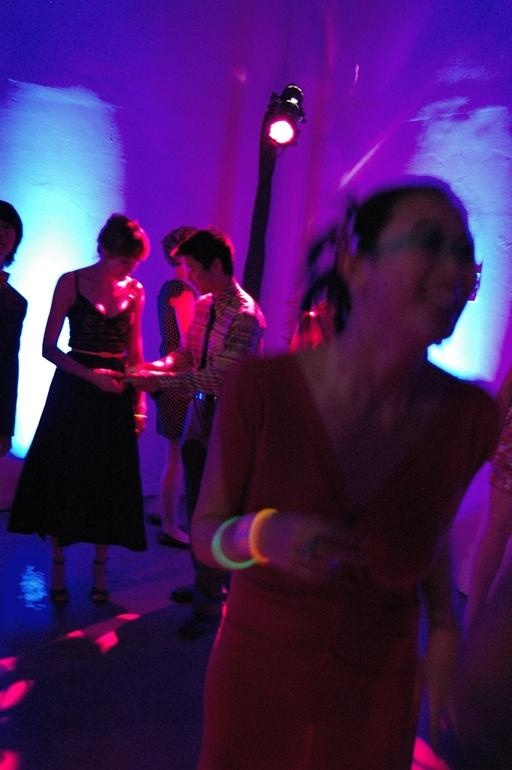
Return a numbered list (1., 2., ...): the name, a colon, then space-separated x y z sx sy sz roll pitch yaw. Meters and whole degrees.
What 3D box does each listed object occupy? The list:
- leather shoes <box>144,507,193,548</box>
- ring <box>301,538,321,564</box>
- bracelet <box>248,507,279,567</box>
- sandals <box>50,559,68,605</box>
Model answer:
1. leather shoes: -0.555 0.840 3.755 0.135 0.176 0.435 1 1 -43
2. ring: 0.063 0.186 0.719 0.022 0.023 0.005 -18 26 -41
3. bracelet: 0.007 0.182 0.746 0.031 0.067 0.032 5 4 6
4. sandals: -0.839 0.855 2.703 0.062 0.082 0.208 0 2 -8
